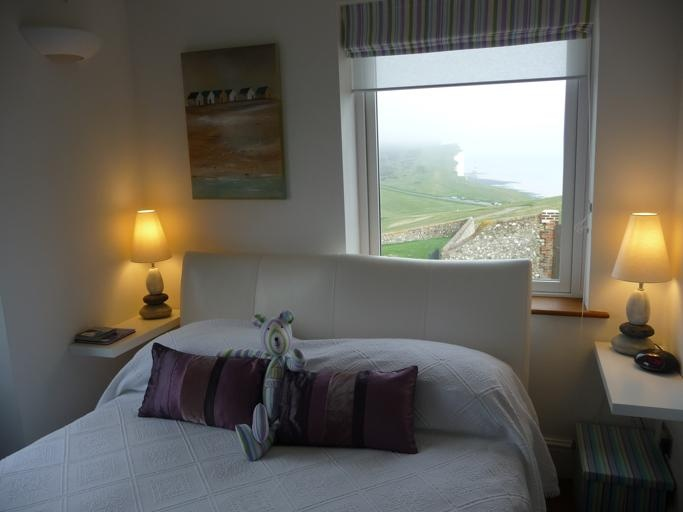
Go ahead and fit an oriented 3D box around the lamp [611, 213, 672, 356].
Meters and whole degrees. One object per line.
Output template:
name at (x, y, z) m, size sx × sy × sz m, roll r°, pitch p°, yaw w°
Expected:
lamp at (1.517, 0.150, 2.422) m, size 0.311 × 0.719 × 0.222 m, roll -4°, pitch 8°, yaw -28°
